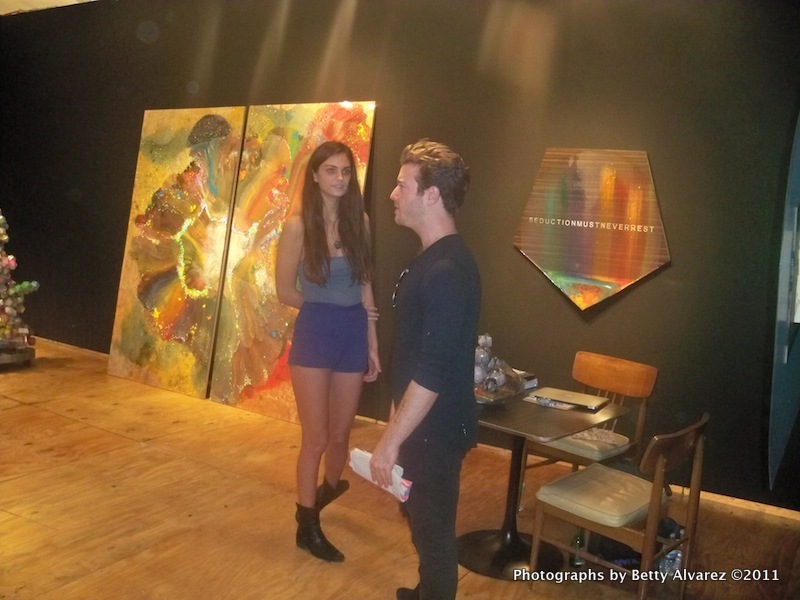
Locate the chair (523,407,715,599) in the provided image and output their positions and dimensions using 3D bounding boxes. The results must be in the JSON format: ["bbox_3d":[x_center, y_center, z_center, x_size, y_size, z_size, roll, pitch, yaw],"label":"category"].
[{"bbox_3d":[1.188,1.052,3.051,0.655,0.979,0.689,13,14,42],"label":"chair"}]

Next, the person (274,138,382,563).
[{"bbox_3d":[-0.444,0.287,3.247,0.540,2.361,0.545,1,10,-13],"label":"person"}]

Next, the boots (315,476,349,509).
[{"bbox_3d":[-0.416,1.159,3.422,0.289,0.118,0.097,-22,4,-41],"label":"boots"}]

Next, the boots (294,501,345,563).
[{"bbox_3d":[-0.465,1.335,3.258,0.350,0.293,0.146,13,19,30],"label":"boots"}]
